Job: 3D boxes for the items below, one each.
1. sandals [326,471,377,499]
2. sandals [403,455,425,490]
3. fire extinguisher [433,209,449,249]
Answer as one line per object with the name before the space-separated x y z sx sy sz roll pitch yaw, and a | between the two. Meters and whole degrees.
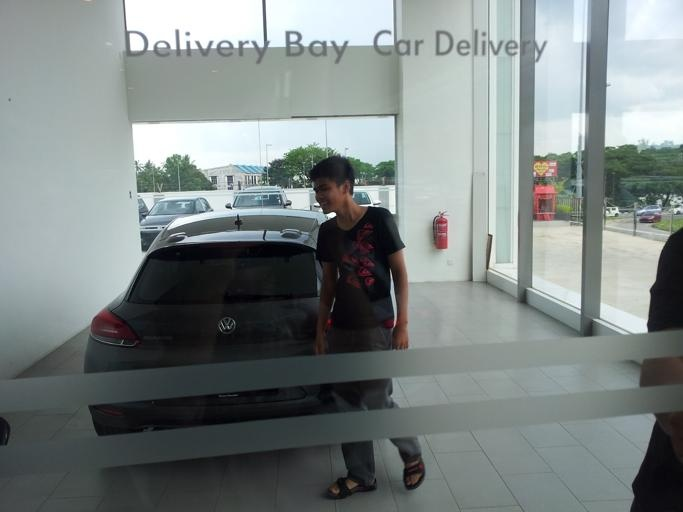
sandals | 0.043 0.916 1.969 0.203 0.077 0.089 0 6 -14
sandals | 0.297 0.877 1.941 0.064 0.164 0.048 -10 -33 24
fire extinguisher | 0.366 -0.094 1.786 0.078 0.135 0.040 -10 15 -29
